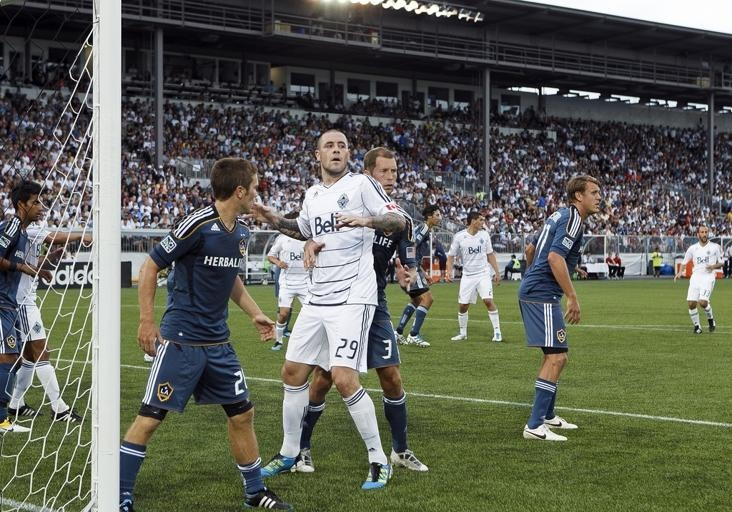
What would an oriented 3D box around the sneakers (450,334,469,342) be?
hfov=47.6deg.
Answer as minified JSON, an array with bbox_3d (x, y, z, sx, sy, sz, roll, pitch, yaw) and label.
[{"bbox_3d":[1.662,1.428,14.584,0.279,0.137,0.117,2,-6,-10],"label":"sneakers"}]

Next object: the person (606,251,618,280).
[{"bbox_3d":[10.703,0.382,35.877,0.427,1.059,0.789,3,3,36],"label":"person"}]

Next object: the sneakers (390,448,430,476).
[{"bbox_3d":[0.411,1.916,7.867,0.404,0.211,0.149,12,2,14],"label":"sneakers"}]

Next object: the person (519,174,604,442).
[{"bbox_3d":[2.050,0.485,8.848,0.802,2.714,1.078,2,2,15],"label":"person"}]

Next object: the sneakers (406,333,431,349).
[{"bbox_3d":[0.880,1.403,13.866,0.425,0.232,0.167,10,2,14],"label":"sneakers"}]

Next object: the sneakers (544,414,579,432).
[{"bbox_3d":[2.126,1.769,8.845,0.406,0.187,0.154,1,1,-5],"label":"sneakers"}]

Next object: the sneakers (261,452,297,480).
[{"bbox_3d":[-0.793,1.939,7.681,0.388,0.174,0.144,-3,-1,-22],"label":"sneakers"}]

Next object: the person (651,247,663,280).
[{"bbox_3d":[13.149,0.263,37.386,0.446,1.280,1.261,2,3,18],"label":"person"}]

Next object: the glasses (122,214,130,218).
[{"bbox_3d":[-7.559,-1.265,26.418,0.126,0.119,0.217,0,-9,-11],"label":"glasses"}]

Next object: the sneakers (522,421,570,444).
[{"bbox_3d":[1.829,1.791,8.452,0.479,0.224,0.174,0,-3,1],"label":"sneakers"}]
